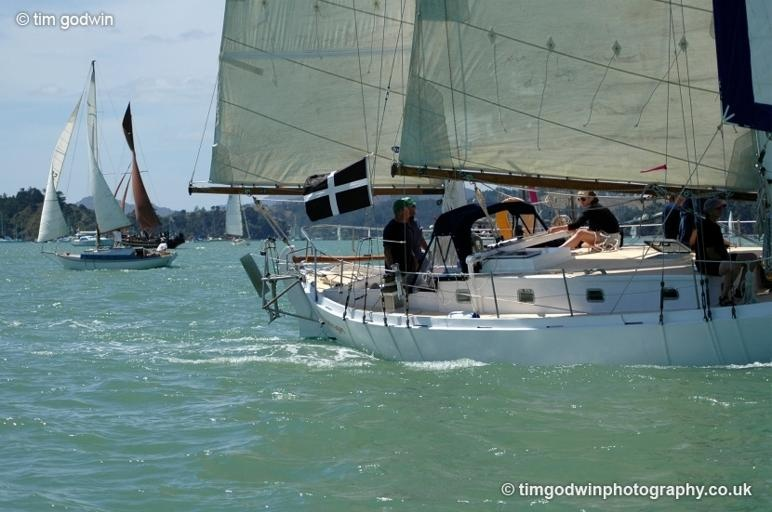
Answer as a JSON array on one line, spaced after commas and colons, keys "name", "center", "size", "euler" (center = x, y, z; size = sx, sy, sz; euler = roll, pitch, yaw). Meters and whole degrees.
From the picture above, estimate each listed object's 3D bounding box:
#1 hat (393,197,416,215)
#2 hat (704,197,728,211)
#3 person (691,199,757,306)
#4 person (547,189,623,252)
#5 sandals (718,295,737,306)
[{"name": "hat", "center": [0.255, -0.762, 13.335], "size": [0.313, 0.209, 0.209], "euler": [-17, 7, 1]}, {"name": "hat", "center": [4.257, -0.693, 11.634], "size": [0.216, 0.114, 0.235], "euler": [-1, 6, 1]}, {"name": "person", "center": [4.309, -0.076, 11.428], "size": [0.710, 1.377, 1.043], "euler": [-5, 2, 18]}, {"name": "person", "center": [3.116, -0.515, 13.776], "size": [1.301, 1.010, 0.652], "euler": [0, 6, 31]}, {"name": "sandals", "center": [4.252, 0.576, 11.135], "size": [0.184, 0.116, 0.416], "euler": [-4, 2, 19]}]
